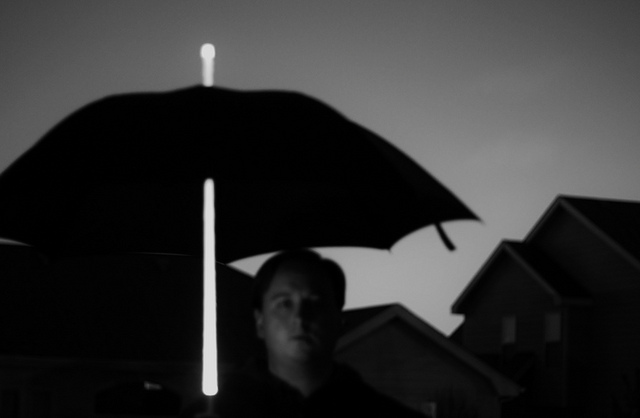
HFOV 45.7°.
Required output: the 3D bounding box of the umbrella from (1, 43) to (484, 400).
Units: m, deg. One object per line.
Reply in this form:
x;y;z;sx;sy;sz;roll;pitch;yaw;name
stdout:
-0.338;-0.245;6.525;3.161;2.735;3.185;-5;-8;24;umbrella
